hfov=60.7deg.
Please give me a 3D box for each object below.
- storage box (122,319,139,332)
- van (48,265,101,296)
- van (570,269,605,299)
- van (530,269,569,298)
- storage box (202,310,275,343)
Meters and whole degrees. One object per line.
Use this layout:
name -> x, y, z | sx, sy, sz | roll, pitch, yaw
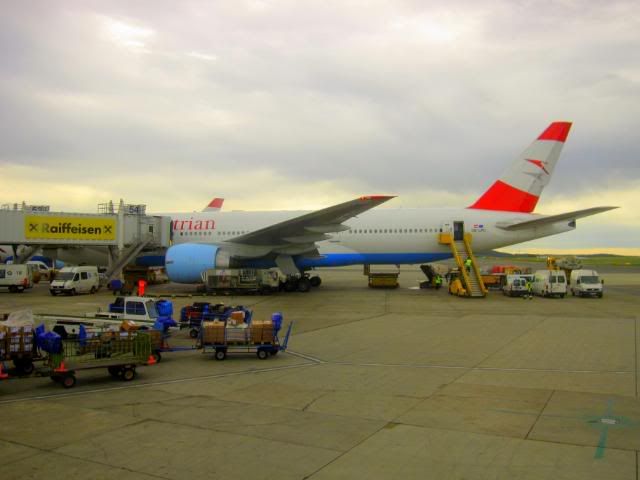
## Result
storage box -> -4.768, 2.164, 13.908 | 0.423, 0.171, 0.348 | 17, -5, -20
van -> -13.178, 2.226, 29.818 | 1.430, 1.485, 2.462 | 0, 3, 12
van -> 14.539, 2.383, 29.902 | 1.447, 0.824, 2.200 | -3, -5, 17
van -> 12.268, 2.314, 29.413 | 1.511, 0.791, 2.017 | 0, 2, 13
storage box -> -2.245, 2.473, 15.188 | 1.841, 0.469, 0.801 | 0, -5, -2
